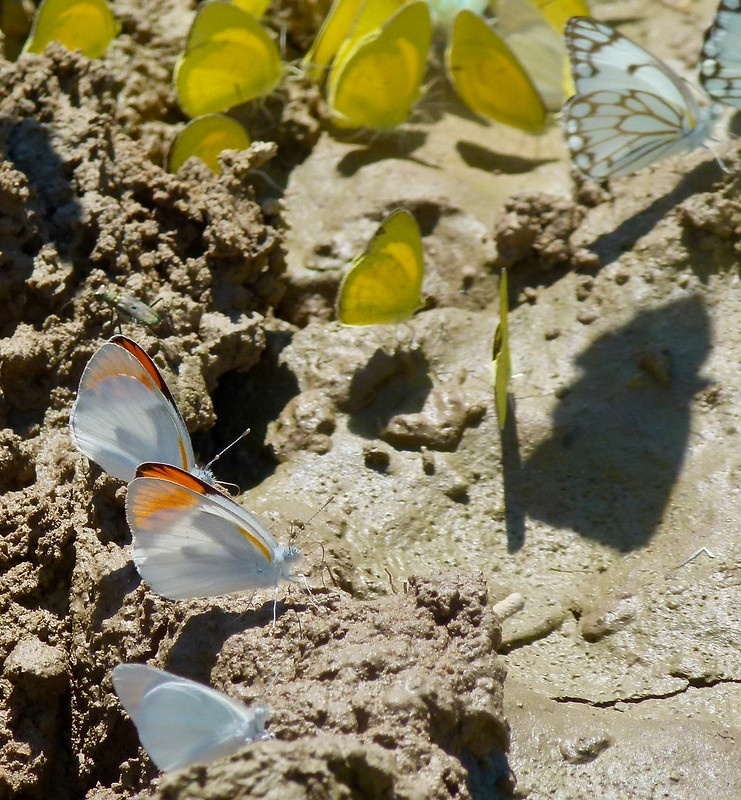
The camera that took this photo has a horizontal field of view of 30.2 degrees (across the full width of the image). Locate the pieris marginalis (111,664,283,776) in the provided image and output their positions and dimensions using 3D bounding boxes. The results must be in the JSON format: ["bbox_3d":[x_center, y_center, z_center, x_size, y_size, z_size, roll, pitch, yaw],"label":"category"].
[{"bbox_3d":[-0.617,1.147,4.678,0.521,0.646,0.267,1,53,-4],"label":"pieris marginalis"}]

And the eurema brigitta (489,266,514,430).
[{"bbox_3d":[0.623,-0.193,5.701,0.167,0.593,0.446,2,3,6],"label":"eurema brigitta"}]

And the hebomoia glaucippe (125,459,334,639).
[{"bbox_3d":[-0.478,0.530,5.006,0.839,0.483,0.461,8,18,-2],"label":"hebomoia glaucippe"}]

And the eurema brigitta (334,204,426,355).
[{"bbox_3d":[0.043,-0.526,6.237,0.369,0.548,0.365,-8,19,-15],"label":"eurema brigitta"}]
